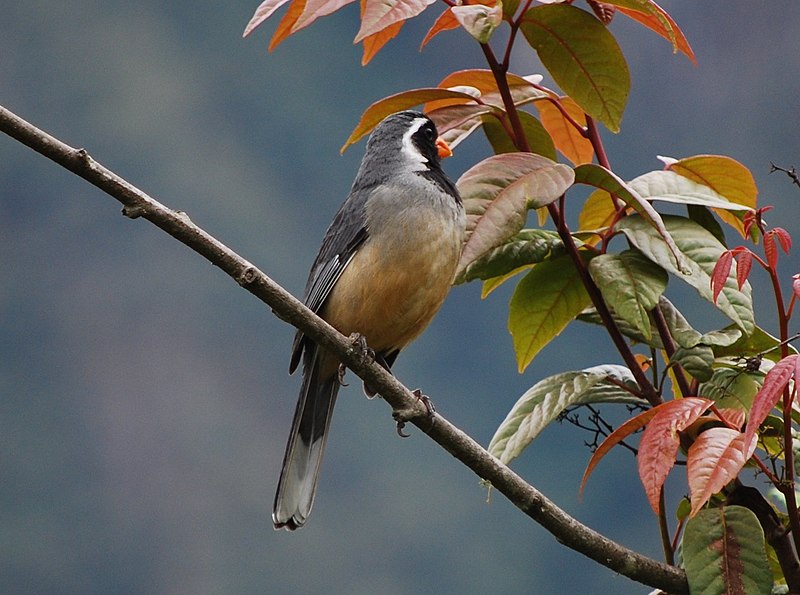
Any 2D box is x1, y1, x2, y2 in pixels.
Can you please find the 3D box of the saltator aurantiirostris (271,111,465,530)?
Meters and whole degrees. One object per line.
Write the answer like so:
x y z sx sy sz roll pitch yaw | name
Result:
-0.091 0.014 3.287 0.657 1.415 0.468 -24 -51 15 | saltator aurantiirostris
